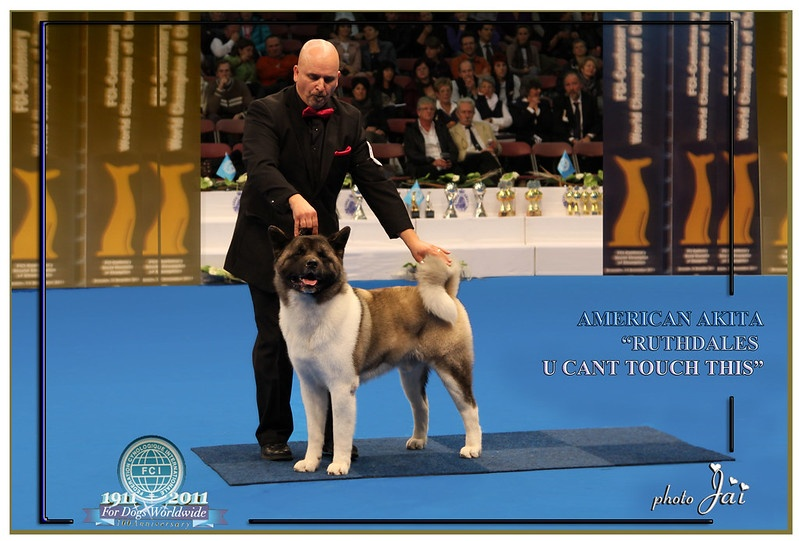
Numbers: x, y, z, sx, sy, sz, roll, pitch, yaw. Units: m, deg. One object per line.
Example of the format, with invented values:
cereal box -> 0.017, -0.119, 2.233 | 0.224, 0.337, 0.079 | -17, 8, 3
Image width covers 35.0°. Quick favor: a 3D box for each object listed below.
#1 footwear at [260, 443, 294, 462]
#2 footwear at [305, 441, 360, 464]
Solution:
footwear -> -1.193, 1.779, 12.428 | 0.142, 0.125, 0.323 | 2, 1, -36
footwear -> -0.614, 1.801, 12.518 | 0.418, 0.172, 0.138 | -1, -2, 22
